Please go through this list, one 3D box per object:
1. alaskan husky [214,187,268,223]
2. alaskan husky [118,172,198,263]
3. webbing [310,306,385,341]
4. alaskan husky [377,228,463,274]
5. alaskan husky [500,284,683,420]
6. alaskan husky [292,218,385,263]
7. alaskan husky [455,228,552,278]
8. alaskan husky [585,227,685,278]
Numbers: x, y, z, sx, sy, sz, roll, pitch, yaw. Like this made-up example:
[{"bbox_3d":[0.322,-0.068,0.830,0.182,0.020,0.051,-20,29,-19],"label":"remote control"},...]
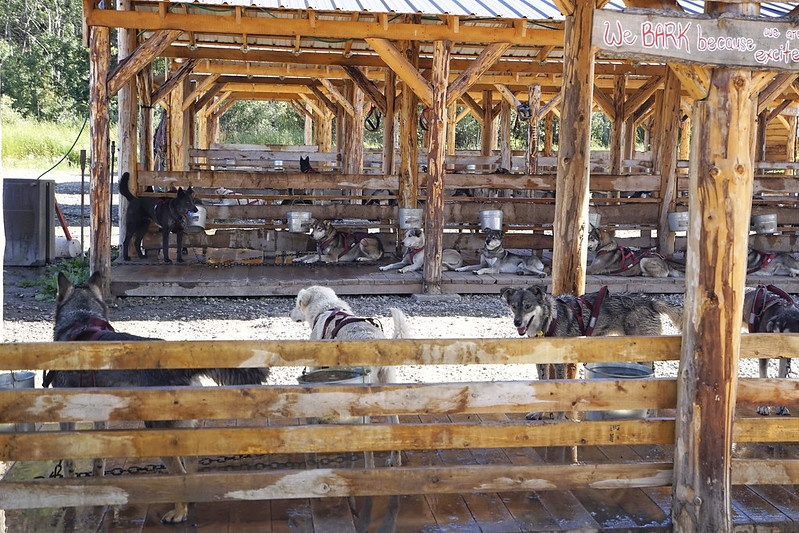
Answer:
[{"bbox_3d":[-3.256,-1.495,21.819,1.243,0.489,0.961,-2,13,-13],"label":"alaskan husky"},{"bbox_3d":[-4.019,-0.797,17.242,1.562,1.349,0.484,6,7,27],"label":"alaskan husky"},{"bbox_3d":[-0.543,0.583,11.268,0.292,0.430,0.820,-1,5,-32],"label":"webbing"},{"bbox_3d":[0.398,-0.289,17.351,1.411,0.798,0.681,0,0,-28],"label":"alaskan husky"},{"bbox_3d":[2.300,0.691,11.996,2.137,1.259,0.521,-6,23,-5],"label":"alaskan husky"},{"bbox_3d":[-1.146,-0.468,18.155,1.651,0.822,0.628,-1,5,-13],"label":"alaskan husky"},{"bbox_3d":[1.770,-0.224,17.367,1.466,0.723,0.518,3,10,-25],"label":"alaskan husky"},{"bbox_3d":[3.886,-0.213,17.117,1.740,0.783,0.565,3,6,15],"label":"alaskan husky"}]
